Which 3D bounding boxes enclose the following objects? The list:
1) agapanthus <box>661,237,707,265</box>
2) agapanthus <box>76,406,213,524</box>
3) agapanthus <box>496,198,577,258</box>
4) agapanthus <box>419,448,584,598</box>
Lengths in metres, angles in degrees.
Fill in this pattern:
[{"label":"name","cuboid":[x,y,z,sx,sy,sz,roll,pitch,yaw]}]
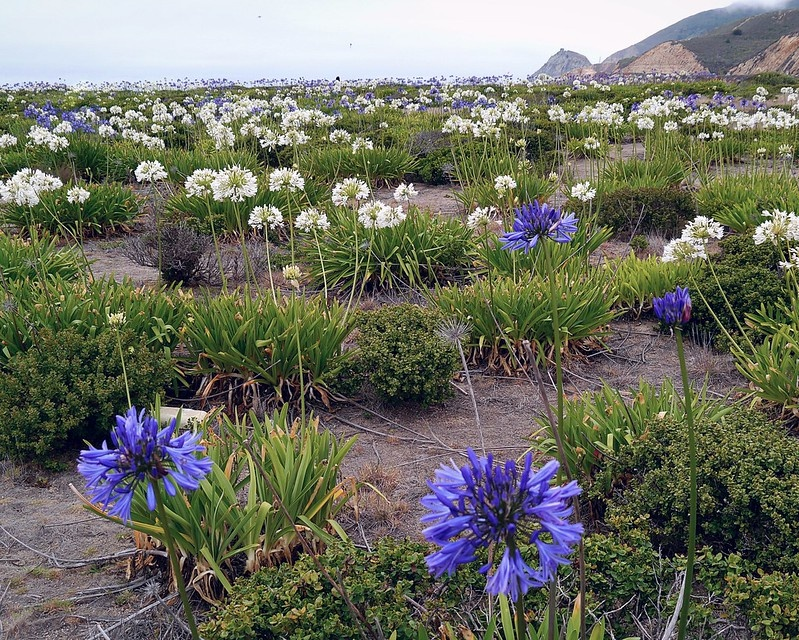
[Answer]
[{"label":"agapanthus","cuboid":[1.929,-0.459,4.774,0.266,0.216,0.278,3,13,43]},{"label":"agapanthus","cuboid":[-1.012,0.582,2.775,0.511,0.521,0.312,-5,18,-14]},{"label":"agapanthus","cuboid":[0.622,-0.399,3.244,0.275,0.197,0.290,-20,14,-13]},{"label":"agapanthus","cuboid":[0.445,0.891,2.943,0.561,0.702,0.594,33,71,12]}]
